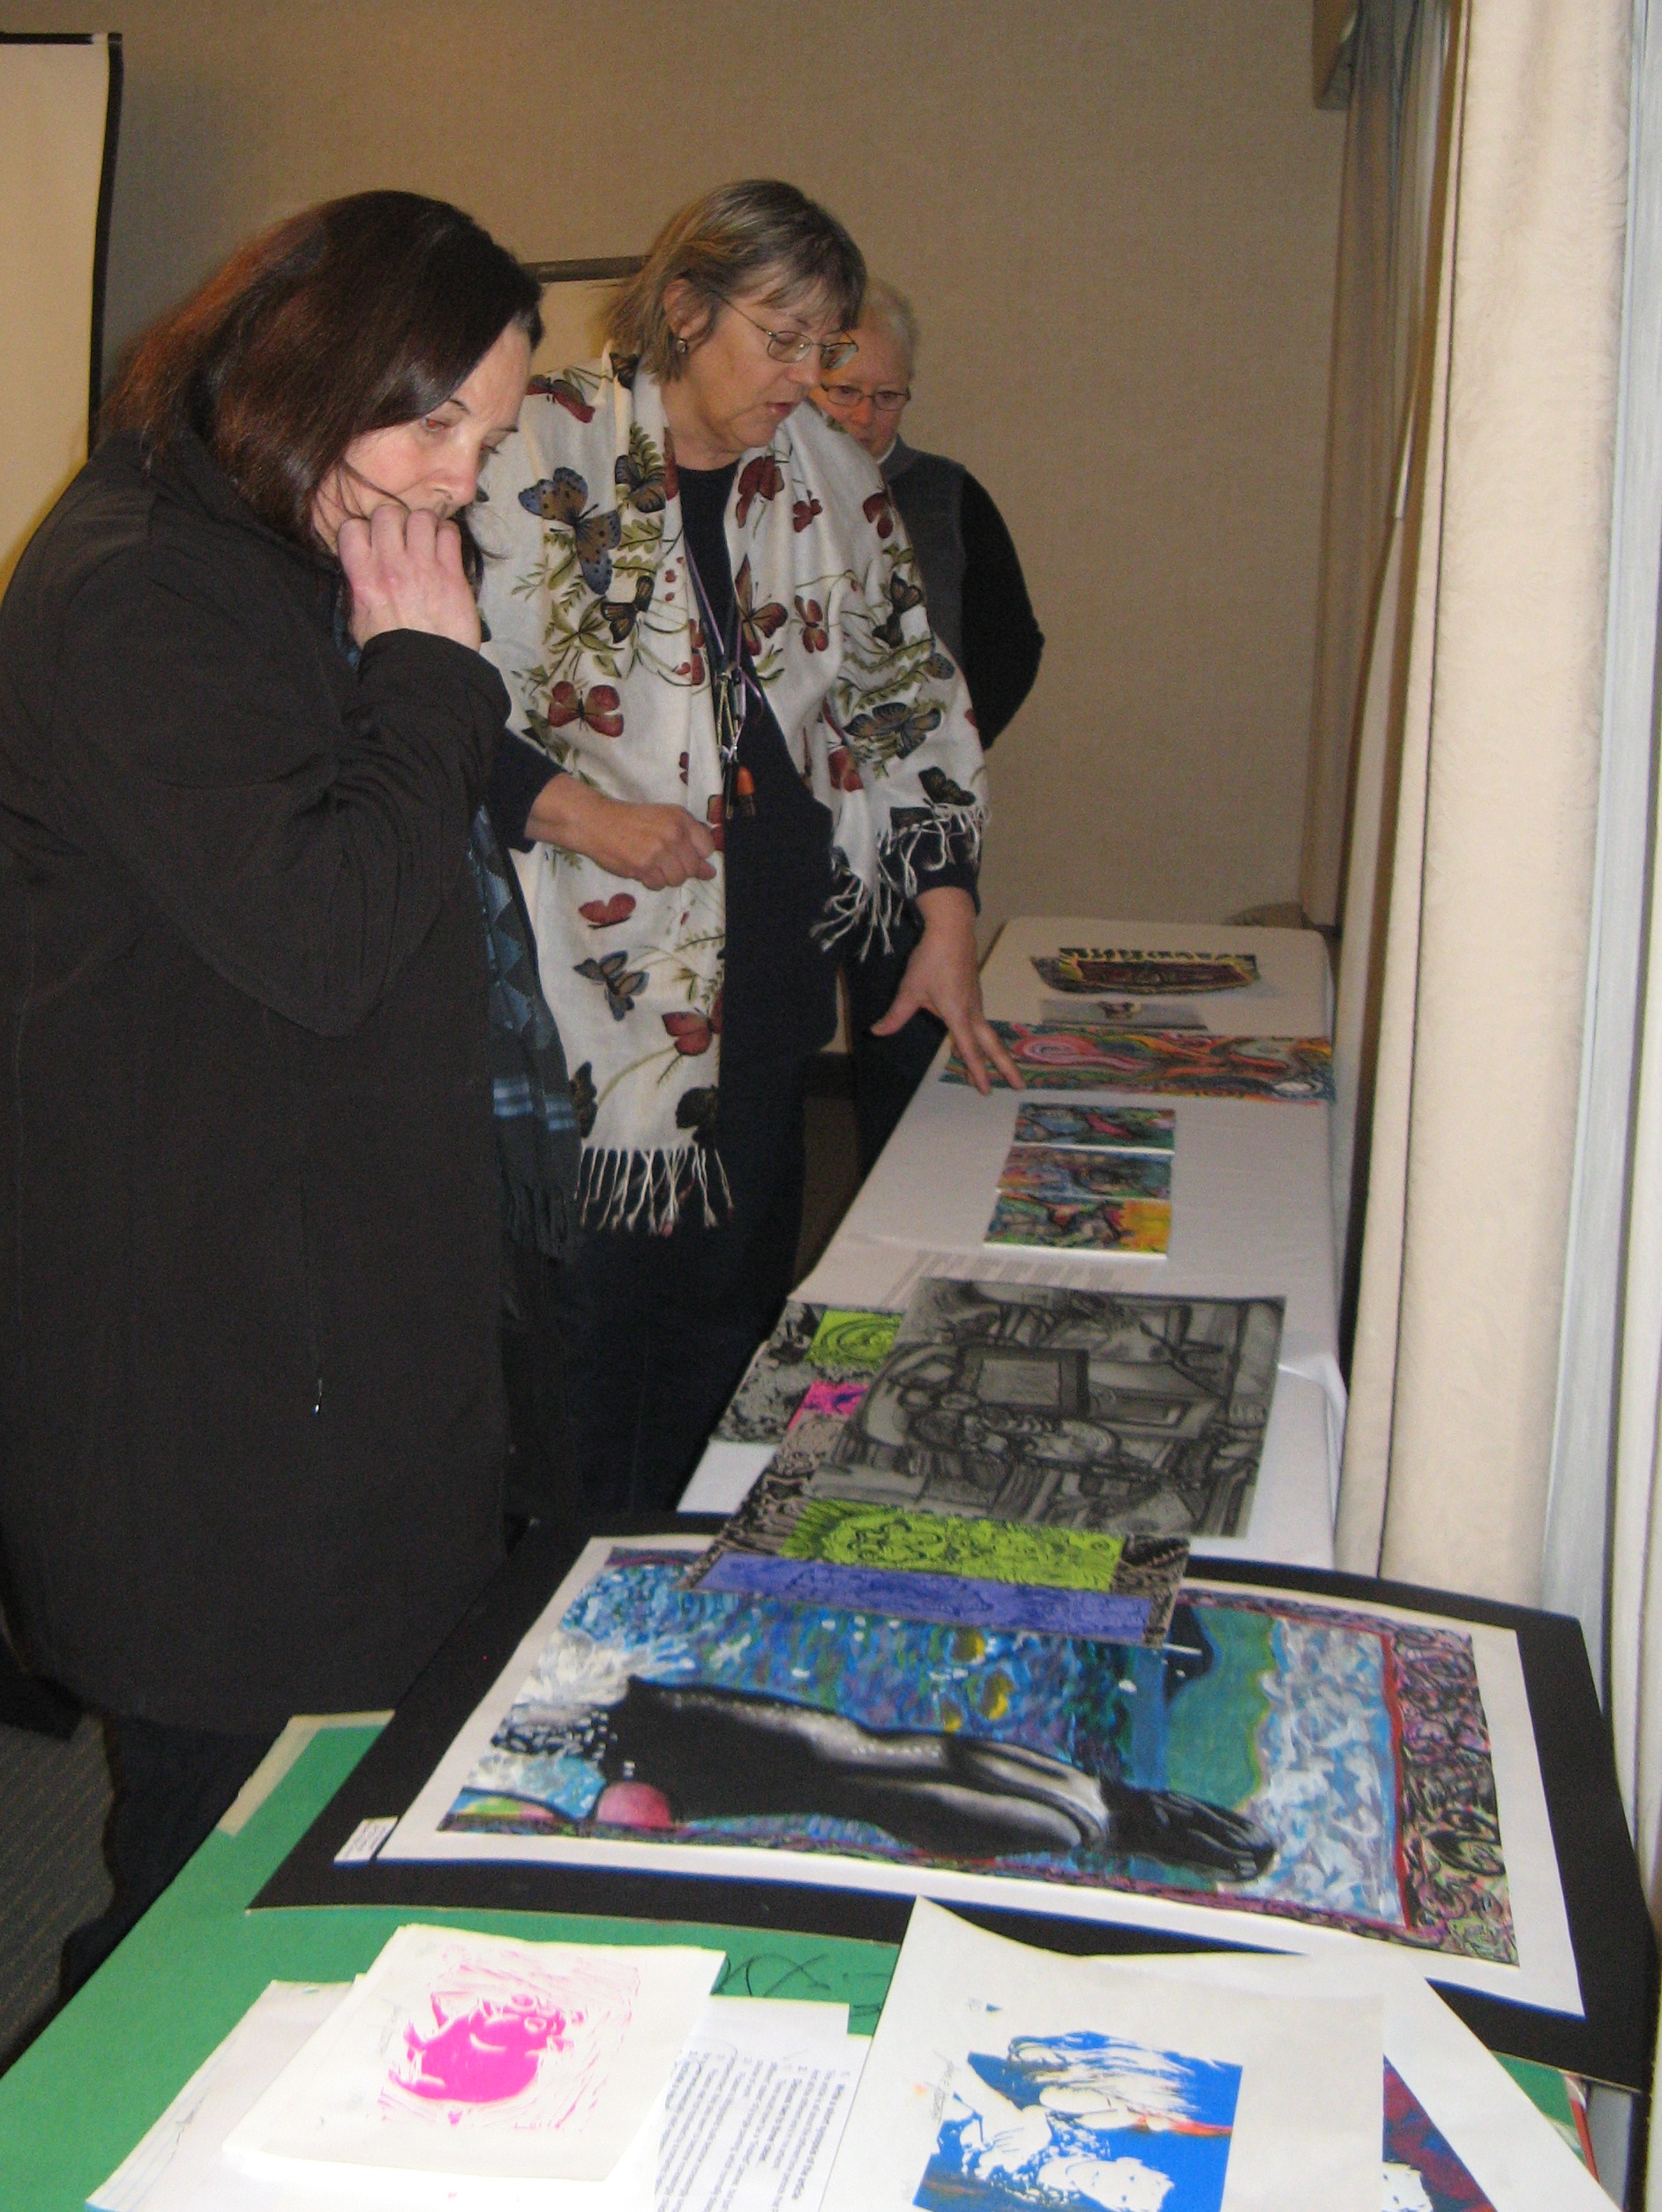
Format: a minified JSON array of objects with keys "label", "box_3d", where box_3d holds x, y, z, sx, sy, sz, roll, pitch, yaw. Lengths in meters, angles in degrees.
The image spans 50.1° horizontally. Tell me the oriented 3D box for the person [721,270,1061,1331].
[{"label":"person","box_3d":[0.082,-0.487,2.690,0.508,1.275,0.368,0,34,6]}]
